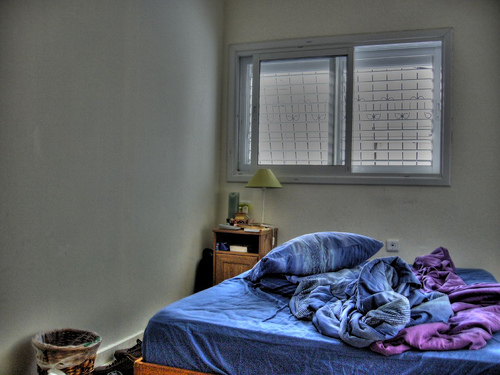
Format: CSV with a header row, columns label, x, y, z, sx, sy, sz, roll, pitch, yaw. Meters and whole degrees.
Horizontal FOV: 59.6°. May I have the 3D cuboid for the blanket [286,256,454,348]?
label,x,y,z,sx,sy,sz,roll,pitch,yaw
blanket,0.553,0.515,2.304,0.729,0.368,0.762,3,0,7

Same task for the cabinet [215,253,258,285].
label,x,y,z,sx,sy,sz,roll,pitch,yaw
cabinet,-0.120,0.667,3.814,0.356,0.263,0.313,3,1,20
